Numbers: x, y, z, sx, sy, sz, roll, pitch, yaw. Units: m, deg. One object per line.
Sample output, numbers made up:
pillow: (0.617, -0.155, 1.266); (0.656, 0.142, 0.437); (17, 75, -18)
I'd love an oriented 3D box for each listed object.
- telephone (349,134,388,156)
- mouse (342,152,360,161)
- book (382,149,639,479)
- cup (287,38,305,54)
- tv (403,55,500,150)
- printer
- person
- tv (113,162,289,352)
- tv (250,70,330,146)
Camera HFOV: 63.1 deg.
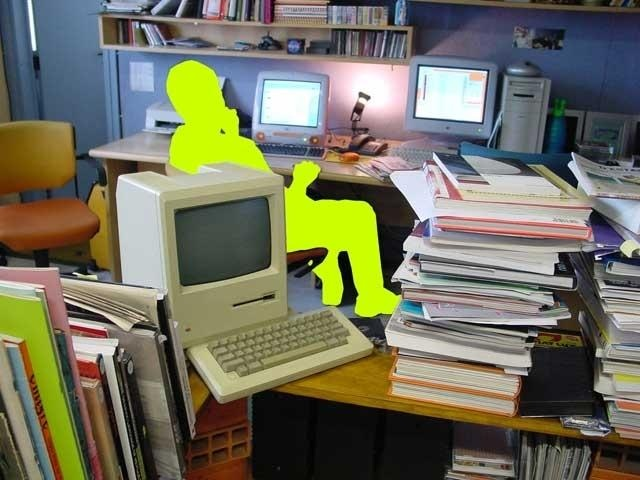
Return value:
telephone: (0.311, -0.618, 3.399); (0.158, 0.071, 0.212); (14, 24, 25)
mouse: (0.184, -0.511, 3.212); (0.076, 0.035, 0.074); (4, 21, 7)
book: (0.413, 0.157, 1.234); (0.484, 0.189, 0.623); (4, 42, 8)
cup: (-0.165, -1.333, 3.619); (0.126, 0.086, 0.120); (3, 21, -1)
tv: (0.840, -0.929, 3.479); (0.581, 0.479, 0.332); (4, 3, 1)
printer: (-0.989, -0.996, 3.866); (0.555, 0.493, 0.468); (7, 15, 15)
person: (-0.143, -0.307, 3.041); (1.330, 1.593, 0.655); (-6, -12, -11)
tv: (-0.363, 0.037, 1.569); (0.329, 0.422, 0.420); (10, 15, 43)
tv: (-0.143, -0.896, 3.622); (0.563, 0.485, 0.288); (10, 11, 23)
